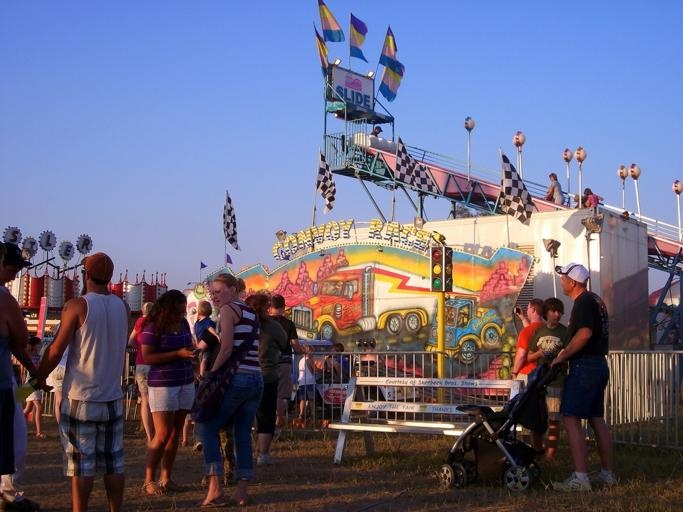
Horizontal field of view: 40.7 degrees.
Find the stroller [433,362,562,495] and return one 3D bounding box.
[{"bbox_3d":[2.168,2.293,12.433,1.538,1.742,0.959,0,-9,20],"label":"stroller"}]

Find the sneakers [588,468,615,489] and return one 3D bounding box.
[{"bbox_3d":[3.447,2.964,12.296,0.156,0.216,0.452,0,-1,-19],"label":"sneakers"}]

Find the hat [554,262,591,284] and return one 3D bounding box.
[{"bbox_3d":[3.096,0.265,12.453,0.384,0.189,0.268,20,16,29],"label":"hat"}]

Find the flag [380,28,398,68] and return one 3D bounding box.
[{"bbox_3d":[1.694,-7.617,33.343,0.660,0.133,1.696,0,-41,1],"label":"flag"}]

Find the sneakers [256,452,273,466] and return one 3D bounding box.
[{"bbox_3d":[-1.127,3.006,13.518,0.105,0.121,0.263,1,-2,16],"label":"sneakers"}]

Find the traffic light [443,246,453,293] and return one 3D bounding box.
[{"bbox_3d":[2.018,0.269,17.493,0.137,0.850,0.213,0,2,16],"label":"traffic light"}]

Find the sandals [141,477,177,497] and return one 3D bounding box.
[{"bbox_3d":[-2.392,3.018,11.982,0.316,0.147,0.187,-5,-2,34],"label":"sandals"}]

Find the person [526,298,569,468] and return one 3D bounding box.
[{"bbox_3d":[3.075,1.813,13.748,0.655,2.526,0.660,0,21,9],"label":"person"}]

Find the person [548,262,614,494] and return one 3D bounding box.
[{"bbox_3d":[3.182,1.574,12.105,0.780,2.909,0.855,0,2,18],"label":"person"}]

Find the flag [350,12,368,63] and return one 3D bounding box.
[{"bbox_3d":[0.629,-8.011,33.795,0.654,0.099,2.032,-1,-46,-2],"label":"flag"}]

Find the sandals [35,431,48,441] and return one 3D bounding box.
[{"bbox_3d":[-5.281,3.198,16.275,0.364,0.169,0.115,-6,-8,41],"label":"sandals"}]

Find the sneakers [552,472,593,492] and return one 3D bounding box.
[{"bbox_3d":[2.985,2.940,11.956,0.528,0.275,0.212,1,-10,4],"label":"sneakers"}]

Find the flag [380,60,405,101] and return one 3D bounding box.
[{"bbox_3d":[1.885,-6.644,34.055,0.702,2.299,0.108,18,-25,-15],"label":"flag"}]
